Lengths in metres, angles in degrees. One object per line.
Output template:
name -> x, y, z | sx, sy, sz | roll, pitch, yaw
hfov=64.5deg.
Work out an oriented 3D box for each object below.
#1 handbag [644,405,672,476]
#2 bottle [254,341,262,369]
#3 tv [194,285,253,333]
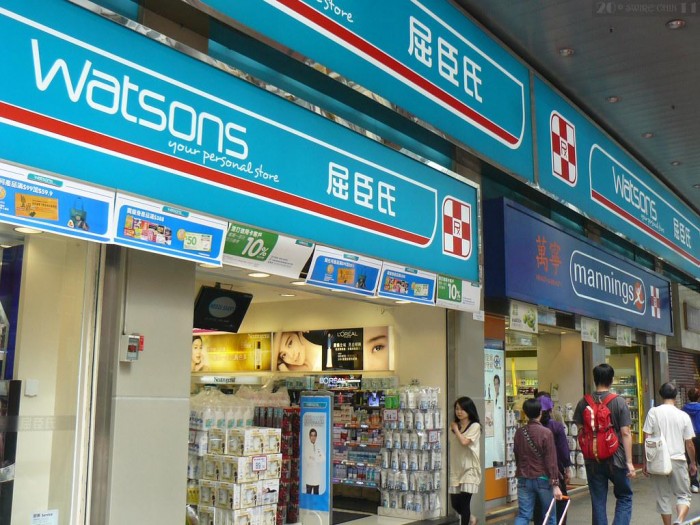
handbag -> 3.391, 1.983, 6.139 | 0.258, 0.706, 0.292 | -8, -17, 28
bottle -> -1.479, 1.504, 9.045 | 0.106, 0.439, 0.331 | 2, -15, -9
tv -> -1.600, 0.577, 6.946 | 0.680, 0.477, 0.608 | 8, -17, -29
